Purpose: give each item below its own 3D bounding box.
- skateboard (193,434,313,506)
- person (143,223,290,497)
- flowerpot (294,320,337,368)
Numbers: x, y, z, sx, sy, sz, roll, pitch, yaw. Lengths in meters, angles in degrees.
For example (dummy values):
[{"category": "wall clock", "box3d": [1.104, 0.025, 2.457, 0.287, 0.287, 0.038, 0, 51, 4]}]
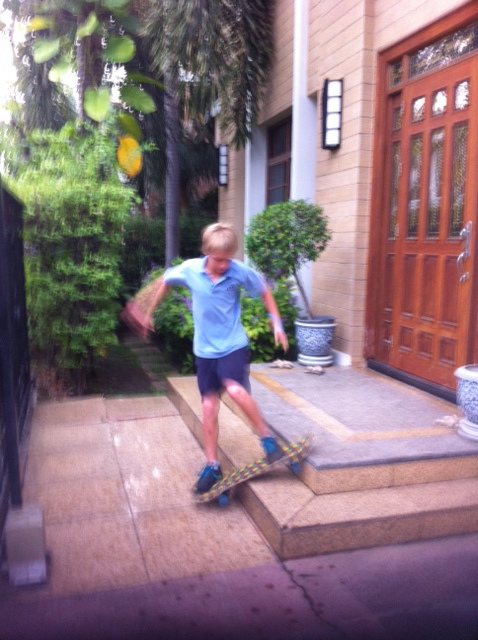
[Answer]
[{"category": "skateboard", "box3d": [0.089, 0.829, 2.387, 0.539, 0.095, 0.155, -31, 19, 9]}, {"category": "person", "box3d": [-0.130, 0.224, 2.299, 0.734, 1.433, 0.368, 1, 11, -5]}, {"category": "flowerpot", "box3d": [0.861, 0.232, 4.786, 0.438, 0.494, 0.493, -3, 2, -19]}]
